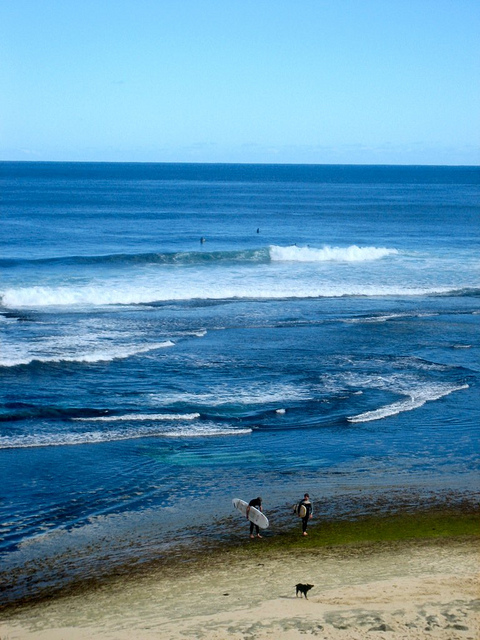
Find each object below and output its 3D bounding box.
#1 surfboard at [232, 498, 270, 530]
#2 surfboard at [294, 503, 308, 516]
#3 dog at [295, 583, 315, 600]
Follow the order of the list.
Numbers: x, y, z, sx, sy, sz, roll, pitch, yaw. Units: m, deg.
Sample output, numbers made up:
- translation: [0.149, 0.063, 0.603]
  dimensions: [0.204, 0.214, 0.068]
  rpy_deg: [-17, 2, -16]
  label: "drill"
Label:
- translation: [0.252, 4.069, 21.109]
  dimensions: [0.156, 0.288, 1.428]
  rpy_deg: [23, 0, -28]
  label: "surfboard"
- translation: [1.279, 3.951, 20.738]
  dimensions: [0.202, 0.253, 0.273]
  rpy_deg: [2, -14, -1]
  label: "surfboard"
- translation: [1.158, 4.837, 17.950]
  dimensions: [0.287, 0.179, 0.497]
  rpy_deg: [4, 14, 12]
  label: "dog"
